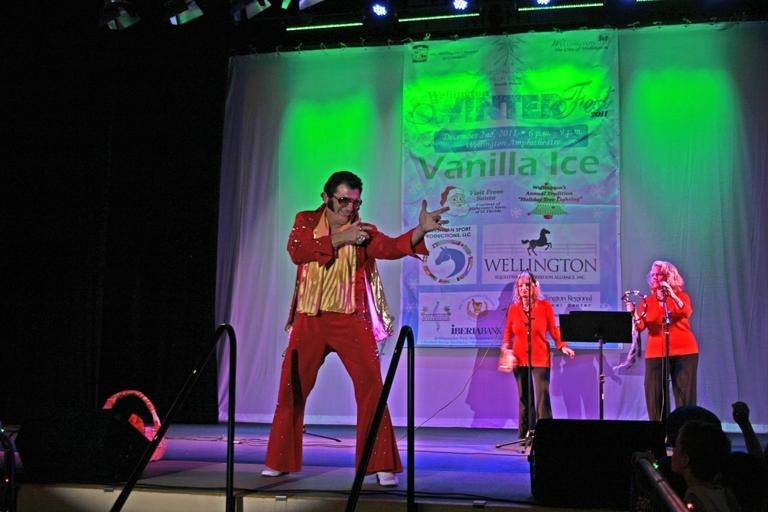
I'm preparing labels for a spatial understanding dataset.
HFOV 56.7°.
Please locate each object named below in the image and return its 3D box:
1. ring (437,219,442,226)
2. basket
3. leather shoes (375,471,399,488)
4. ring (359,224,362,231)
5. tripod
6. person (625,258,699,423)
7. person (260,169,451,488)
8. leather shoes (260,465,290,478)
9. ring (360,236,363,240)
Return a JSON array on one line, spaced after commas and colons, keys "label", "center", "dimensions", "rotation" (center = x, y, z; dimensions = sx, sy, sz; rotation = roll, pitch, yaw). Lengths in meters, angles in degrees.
[{"label": "ring", "center": [0.435, -0.273, 5.777], "dimensions": [0.028, 0.047, 0.016], "rotation": [3, 6, -6]}, {"label": "basket", "center": [-2.447, 1.735, 6.984], "dimensions": [0.477, 0.706, 0.719], "rotation": [-2, -13, -22]}, {"label": "leather shoes", "center": [0.018, 1.907, 6.067], "dimensions": [0.084, 0.095, 0.226], "rotation": [15, -25, -32]}, {"label": "ring", "center": [-0.213, -0.248, 6.161], "dimensions": [0.033, 0.053, 0.053], "rotation": [3, -5, -15]}, {"label": "tripod", "center": [1.484, 1.228, 8.017], "dimensions": [0.420, 1.770, 0.824], "rotation": [1, -5, 11]}, {"label": "person", "center": [3.188, 0.963, 8.292], "dimensions": [0.779, 1.815, 1.027], "rotation": [-3, -6, 43]}, {"label": "person", "center": [-0.410, 0.593, 6.329], "dimensions": [1.442, 2.697, 0.412], "rotation": [0, -5, 17]}, {"label": "leather shoes", "center": [-0.964, 1.904, 6.293], "dimensions": [0.258, 0.113, 0.095], "rotation": [14, -4, -5]}, {"label": "ring", "center": [-0.203, -0.162, 6.123], "dimensions": [0.027, 0.028, 0.008], "rotation": [4, 4, 7]}]
